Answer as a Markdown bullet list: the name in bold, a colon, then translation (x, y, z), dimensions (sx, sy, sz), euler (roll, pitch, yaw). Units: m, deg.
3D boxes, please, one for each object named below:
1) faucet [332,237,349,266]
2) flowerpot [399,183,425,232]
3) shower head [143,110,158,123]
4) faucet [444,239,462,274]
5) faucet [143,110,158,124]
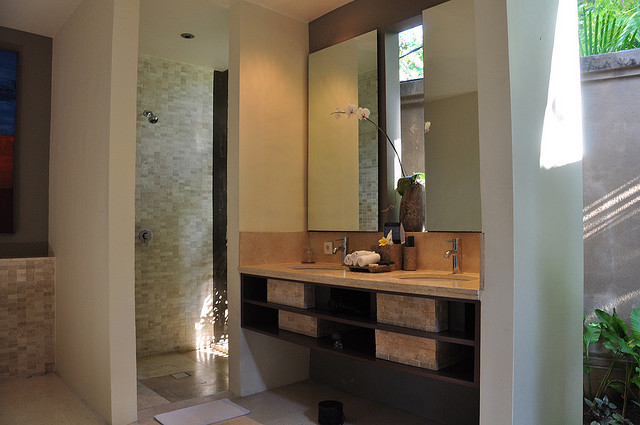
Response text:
- **faucet**: translation (0.198, 0.334, 4.389), dimensions (0.151, 0.208, 0.184), euler (0, -1, 1)
- **flowerpot**: translation (0.794, -0.036, 3.983), dimensions (0.230, 0.424, 0.229), euler (-1, -7, 1)
- **shower head**: translation (-1.883, -1.068, 5.213), dimensions (0.101, 0.138, 0.037), euler (-42, 15, 3)
- **faucet**: translation (1.008, 0.333, 3.583), dimensions (0.195, 0.274, 0.073), euler (-1, 2, -32)
- **faucet**: translation (-1.889, -1.069, 5.233), dimensions (0.153, 0.151, 0.044), euler (1, -1, -22)
